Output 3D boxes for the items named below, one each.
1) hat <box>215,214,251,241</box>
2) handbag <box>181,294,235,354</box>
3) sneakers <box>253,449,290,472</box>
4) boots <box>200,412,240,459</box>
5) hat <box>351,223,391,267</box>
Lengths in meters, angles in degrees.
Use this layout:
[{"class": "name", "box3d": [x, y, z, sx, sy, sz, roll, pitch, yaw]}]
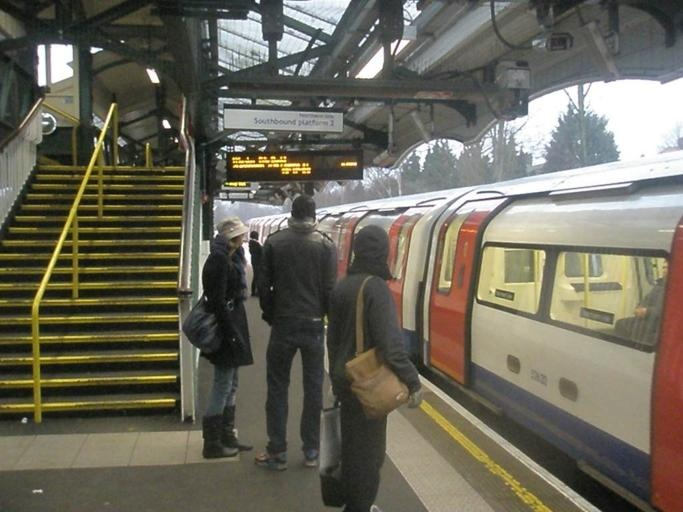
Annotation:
[{"class": "hat", "box3d": [-1.133, -0.298, 6.472, 0.257, 0.146, 0.253, -23, 3, 21]}, {"class": "handbag", "box3d": [-1.387, 0.715, 6.461, 0.437, 0.602, 0.326, 31, 0, 26]}, {"class": "sneakers", "box3d": [-0.720, 2.089, 6.429, 0.367, 0.201, 0.140, 5, -2, 13]}, {"class": "boots", "box3d": [-1.286, 1.889, 6.698, 0.513, 0.602, 0.290, -1, 4, -19]}, {"class": "hat", "box3d": [0.255, -0.099, 5.455, 0.277, 0.348, 0.327, 9, 7, 25]}]
